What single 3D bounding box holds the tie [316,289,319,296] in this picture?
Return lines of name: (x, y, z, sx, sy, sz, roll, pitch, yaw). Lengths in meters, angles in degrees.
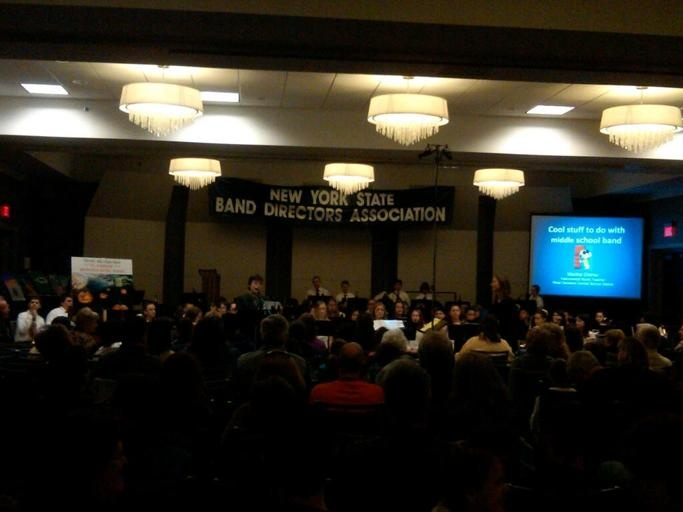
tie: (-0.474, 0.754, 12.489, 0.106, 0.132, 0.023, 1, 5, 5)
